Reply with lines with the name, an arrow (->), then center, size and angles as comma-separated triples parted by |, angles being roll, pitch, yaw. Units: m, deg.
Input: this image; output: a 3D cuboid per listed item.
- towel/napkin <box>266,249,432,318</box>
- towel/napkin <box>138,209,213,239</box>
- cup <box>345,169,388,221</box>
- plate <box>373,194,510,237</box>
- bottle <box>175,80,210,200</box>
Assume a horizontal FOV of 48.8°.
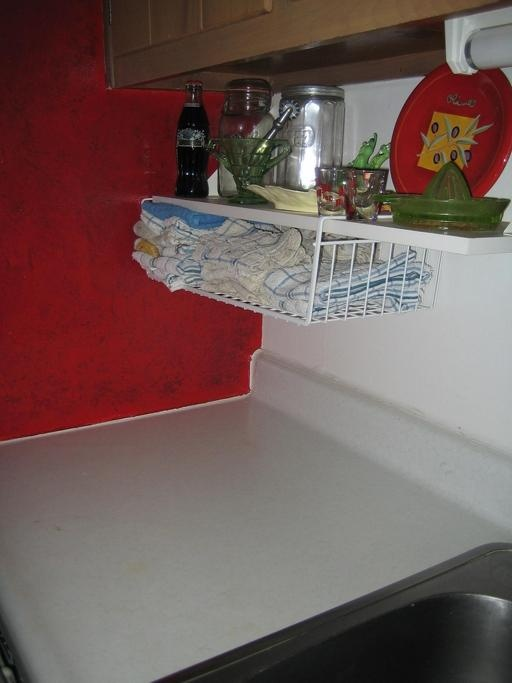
towel/napkin -> 0.132, -0.111, 0.812 | 0.150, 0.050, 0.146 | -18, 27, -31
towel/napkin -> -0.163, -0.229, 1.081 | 0.113, 0.036, 0.113 | -14, 28, -36
cup -> 0.137, -0.198, 0.778 | 0.059, 0.062, 0.050 | -6, 10, -22
plate -> 0.256, -0.160, 0.707 | 0.168, 0.044, 0.102 | -3, 14, -15
bottle -> -0.130, -0.397, 1.130 | 0.070, 0.217, 0.168 | -1, 14, -7
